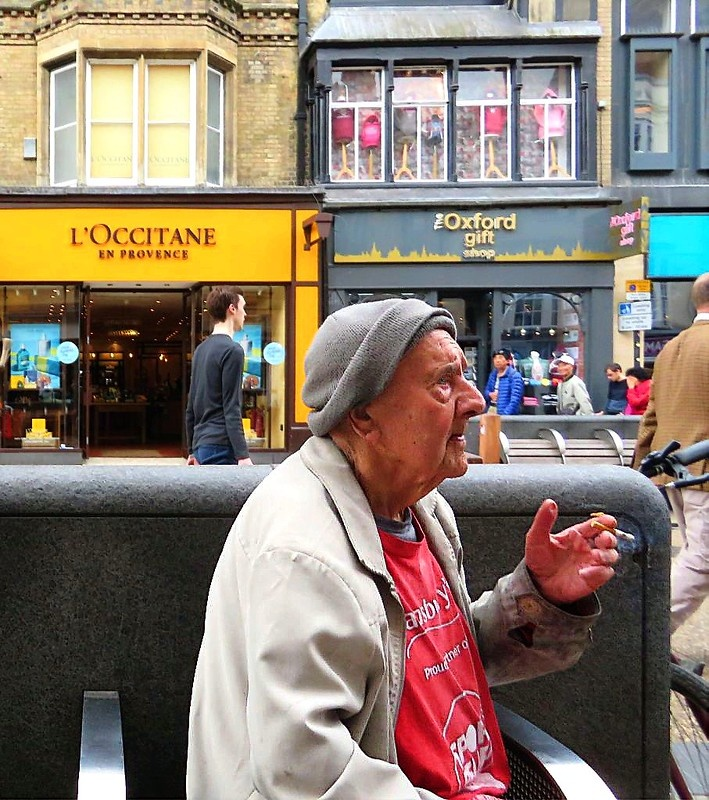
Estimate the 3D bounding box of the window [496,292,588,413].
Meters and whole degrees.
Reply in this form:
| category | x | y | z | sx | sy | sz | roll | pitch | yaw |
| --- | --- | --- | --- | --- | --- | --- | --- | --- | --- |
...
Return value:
| category | x | y | z | sx | sy | sz | roll | pitch | yaw |
| --- | --- | --- | --- | --- | --- | --- | --- | --- | --- |
| window | 2.167 | -0.623 | 15.128 | 1.235 | 2.003 | 0.036 | -1 | 2 | -1 |

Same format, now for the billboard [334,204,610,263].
| category | x | y | z | sx | sy | sz | roll | pitch | yaw |
| --- | --- | --- | --- | --- | --- | --- | --- | --- | --- |
| billboard | 1.346 | -1.941 | 15.325 | 3.194 | 0.629 | 0.170 | -1 | 2 | 1 |

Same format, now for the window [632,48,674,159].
| category | x | y | z | sx | sy | sz | roll | pitch | yaw |
| --- | --- | --- | --- | --- | --- | --- | --- | --- | --- |
| window | 3.602 | -3.649 | 15.987 | 0.506 | 1.682 | 0.129 | 4 | 41 | 17 |

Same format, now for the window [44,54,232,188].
| category | x | y | z | sx | sy | sz | roll | pitch | yaw |
| --- | --- | --- | --- | --- | --- | --- | --- | --- | --- |
| window | -2.649 | -3.308 | 15.509 | 1.494 | 1.156 | 0.132 | 0 | -5 | -5 |

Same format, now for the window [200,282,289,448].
| category | x | y | z | sx | sy | sz | roll | pitch | yaw |
| --- | --- | --- | --- | --- | --- | --- | --- | --- | --- |
| window | -1.306 | -0.306 | 15.510 | 1.094 | 2.530 | 0.104 | -3 | 27 | -5 |

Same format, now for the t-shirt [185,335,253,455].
| category | x | y | z | sx | sy | sz | roll | pitch | yaw |
| --- | --- | --- | --- | --- | --- | --- | --- | --- | --- |
| t-shirt | -0.737 | -0.012 | 6.864 | 0.427 | 0.658 | 0.202 | 5 | 3 | 40 |

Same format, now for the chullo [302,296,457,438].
| category | x | y | z | sx | sy | sz | roll | pitch | yaw |
| --- | --- | --- | --- | --- | --- | --- | --- | --- | --- |
| chullo | 0.051 | -0.111 | 3.400 | 0.353 | 0.291 | 0.308 | -27 | -7 | 11 |

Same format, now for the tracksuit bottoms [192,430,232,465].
| category | x | y | z | sx | sy | sz | roll | pitch | yaw |
| --- | --- | --- | --- | --- | --- | --- | --- | --- | --- |
| tracksuit bottoms | -0.752 | 0.272 | 6.873 | 0.153 | 0.300 | 0.200 | -2 | -4 | -17 |

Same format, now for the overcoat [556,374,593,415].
| category | x | y | z | sx | sy | sz | roll | pitch | yaw |
| --- | --- | --- | --- | --- | --- | --- | --- | --- | --- |
| overcoat | 2.403 | -0.051 | 14.332 | 0.171 | 0.355 | 0.371 | -13 | 12 | -20 |

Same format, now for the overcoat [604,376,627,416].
| category | x | y | z | sx | sy | sz | roll | pitch | yaw |
| --- | --- | --- | --- | --- | --- | --- | --- | --- | --- |
| overcoat | 2.797 | -0.038 | 14.023 | 0.233 | 0.455 | 0.316 | 6 | -9 | -26 |

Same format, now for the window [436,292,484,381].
| category | x | y | z | sx | sy | sz | roll | pitch | yaw |
| --- | --- | --- | --- | --- | --- | --- | --- | --- | --- |
| window | 1.286 | -0.718 | 15.699 | 0.554 | 1.284 | 0.118 | -1 | -22 | 6 |

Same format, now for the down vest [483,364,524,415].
| category | x | y | z | sx | sy | sz | roll | pitch | yaw |
| --- | --- | --- | --- | --- | --- | --- | --- | --- | --- |
| down vest | 1.492 | -0.094 | 13.085 | 0.284 | 0.585 | 0.480 | 6 | -7 | -27 |
